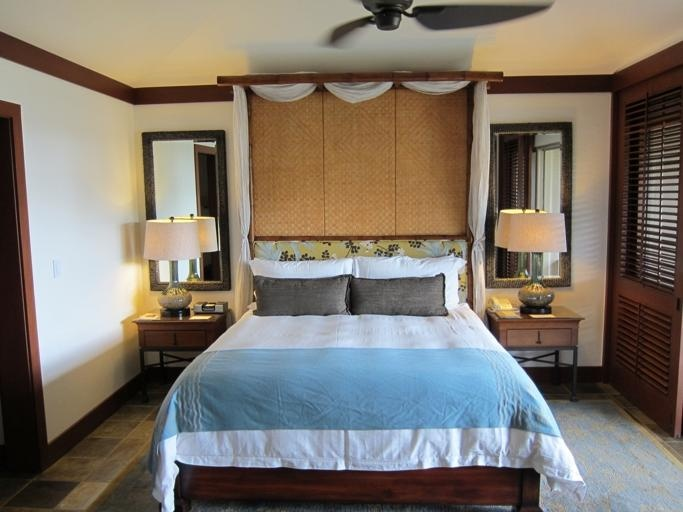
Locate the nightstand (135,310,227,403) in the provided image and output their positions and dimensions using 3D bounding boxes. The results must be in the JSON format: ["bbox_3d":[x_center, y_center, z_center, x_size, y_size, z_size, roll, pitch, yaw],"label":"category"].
[{"bbox_3d":[-1.666,0.918,5.985,1.084,1.050,0.853,0,3,-3],"label":"nightstand"}]

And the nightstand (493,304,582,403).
[{"bbox_3d":[1.991,0.942,5.780,0.847,0.833,0.657,-1,13,4],"label":"nightstand"}]

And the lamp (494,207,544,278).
[{"bbox_3d":[1.981,-0.095,5.862,0.365,0.651,0.628,6,25,23],"label":"lamp"}]

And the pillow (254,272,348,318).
[{"bbox_3d":[-0.398,0.404,5.484,0.966,0.457,0.239,0,-1,3],"label":"pillow"}]

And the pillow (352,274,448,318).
[{"bbox_3d":[0.556,0.383,5.503,0.997,0.530,0.281,0,1,0],"label":"pillow"}]
